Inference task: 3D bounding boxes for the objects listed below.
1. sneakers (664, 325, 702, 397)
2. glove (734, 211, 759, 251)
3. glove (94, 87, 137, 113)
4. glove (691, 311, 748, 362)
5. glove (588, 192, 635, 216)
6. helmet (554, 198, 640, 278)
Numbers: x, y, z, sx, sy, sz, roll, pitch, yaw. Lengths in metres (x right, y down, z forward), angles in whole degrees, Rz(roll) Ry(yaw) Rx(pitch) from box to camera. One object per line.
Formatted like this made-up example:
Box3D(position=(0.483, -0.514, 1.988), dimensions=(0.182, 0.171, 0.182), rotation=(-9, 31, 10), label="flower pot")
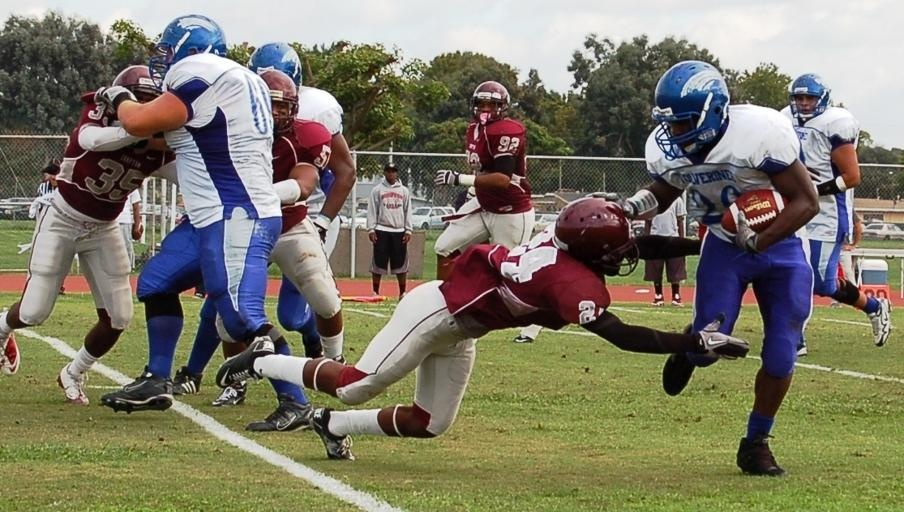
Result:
Box3D(position=(1.875, 0.915, 8.008), dimensions=(0.218, 0.615, 0.266), rotation=(21, 28, 17), label="sneakers")
Box3D(position=(2.208, -0.186, 7.234), dimensions=(0.131, 0.155, 0.295), rotation=(-20, -52, 28), label="glove")
Box3D(position=(-2.598, -1.212, 7.456), dimensions=(0.322, 0.138, 0.216), rotation=(19, -33, 4), label="glove")
Box3D(position=(1.940, 0.578, 6.857), dimensions=(0.387, 0.141, 0.300), rotation=(7, 19, -10), label="glove")
Box3D(position=(1.319, -0.431, 7.646), dimensions=(0.174, 0.249, 0.354), rotation=(-41, -22, 30), label="glove")
Box3D(position=(1.001, -0.141, 6.808), dimensions=(0.660, 0.445, 0.473), rotation=(11, 22, -24), label="helmet")
